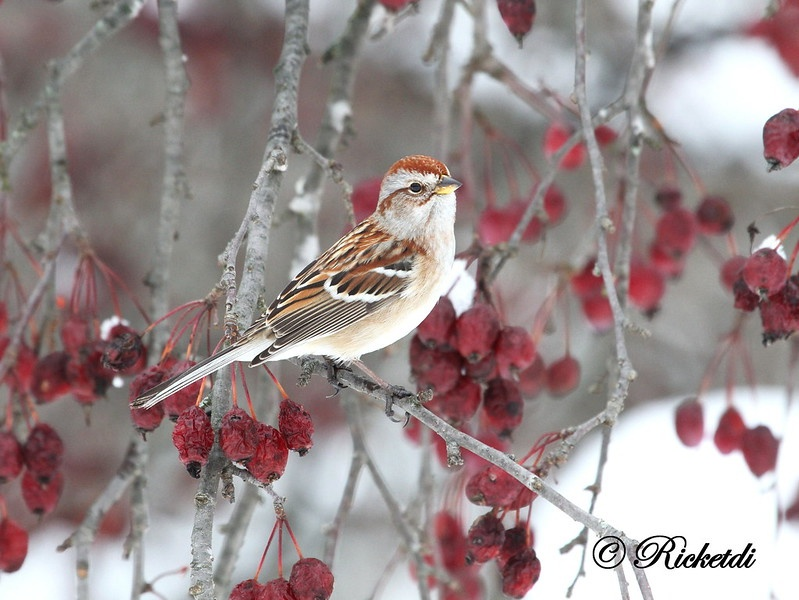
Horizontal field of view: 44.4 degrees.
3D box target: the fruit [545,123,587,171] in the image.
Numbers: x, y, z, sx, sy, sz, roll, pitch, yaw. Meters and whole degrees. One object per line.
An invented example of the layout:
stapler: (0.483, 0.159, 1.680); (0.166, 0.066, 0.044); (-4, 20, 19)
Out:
fruit: (1.137, -1.090, 6.822); (0.159, 0.361, 0.345); (-19, 40, -5)
